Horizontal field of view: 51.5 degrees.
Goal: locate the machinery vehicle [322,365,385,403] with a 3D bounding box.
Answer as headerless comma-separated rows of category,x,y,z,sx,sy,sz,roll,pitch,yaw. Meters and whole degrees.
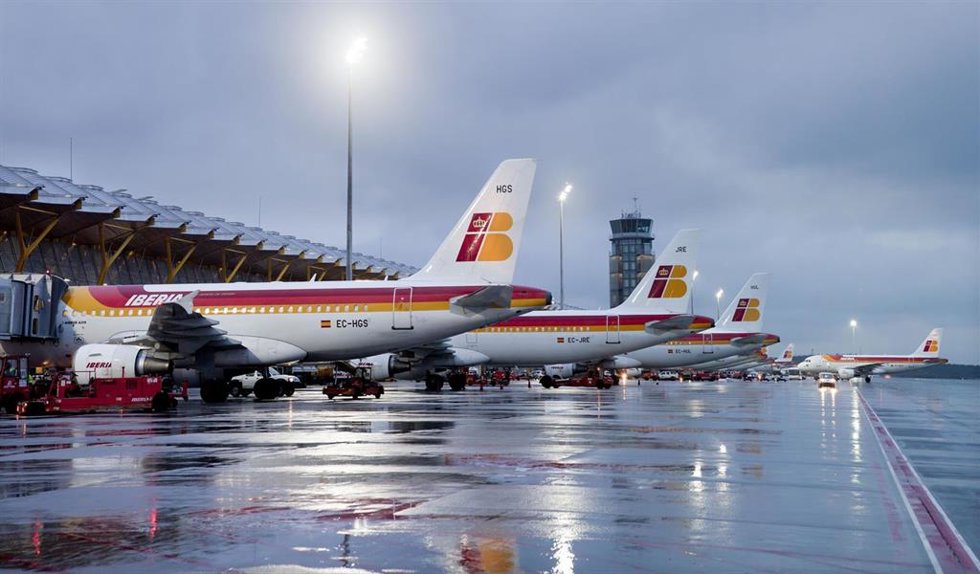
machinery vehicle,-6.380,4.570,46.972,3.265,1.453,3.971,-2,-7,12
